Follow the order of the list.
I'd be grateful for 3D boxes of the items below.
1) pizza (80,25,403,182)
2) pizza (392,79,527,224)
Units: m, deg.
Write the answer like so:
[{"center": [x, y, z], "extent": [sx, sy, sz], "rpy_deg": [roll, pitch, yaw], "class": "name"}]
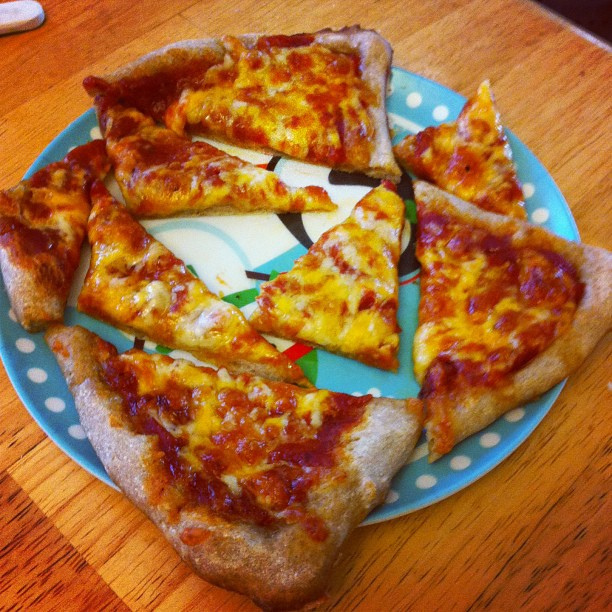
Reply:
[{"center": [-0.113, -0.541, 1.705], "extent": [0.787, 0.099, 0.355], "rpy_deg": [4, 70, 5], "class": "pizza"}, {"center": [0.419, -0.381, 1.692], "extent": [0.323, 0.081, 0.528], "rpy_deg": [29, 40, 22], "class": "pizza"}]
